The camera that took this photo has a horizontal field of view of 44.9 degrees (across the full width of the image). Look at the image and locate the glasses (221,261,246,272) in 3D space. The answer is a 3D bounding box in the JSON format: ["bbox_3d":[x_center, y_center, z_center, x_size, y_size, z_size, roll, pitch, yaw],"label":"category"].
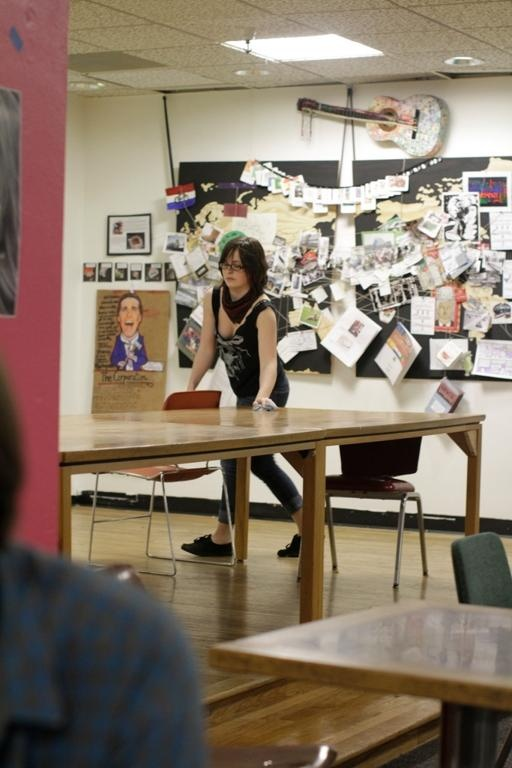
[{"bbox_3d":[-0.170,-0.776,4.145,0.083,0.059,0.192,-11,13,-42],"label":"glasses"}]

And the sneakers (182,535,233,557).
[{"bbox_3d":[-0.369,1.270,4.895,0.447,0.192,0.162,4,-5,-5],"label":"sneakers"}]
